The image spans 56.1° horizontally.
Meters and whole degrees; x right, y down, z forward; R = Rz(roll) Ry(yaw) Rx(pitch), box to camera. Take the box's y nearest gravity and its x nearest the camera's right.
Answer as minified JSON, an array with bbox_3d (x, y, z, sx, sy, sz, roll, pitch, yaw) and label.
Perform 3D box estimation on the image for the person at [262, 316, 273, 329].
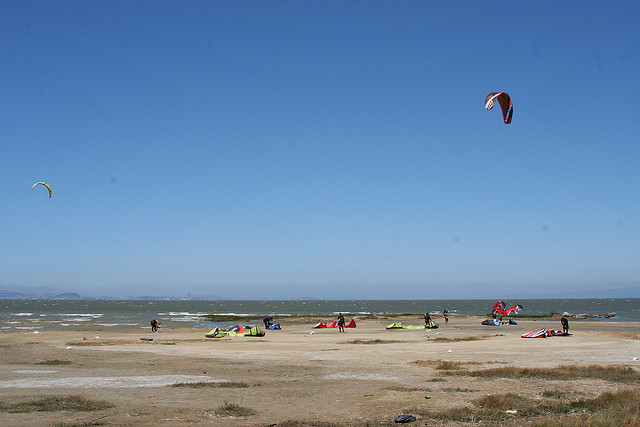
[{"bbox_3d":[-5.902,12.401,67.863,0.787,1.330,3.169,3,-12,-5],"label":"person"}]

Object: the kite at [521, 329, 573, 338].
[{"bbox_3d":[19.867,10.439,52.112,5.511,0.817,1.456,2,-5,-29],"label":"kite"}]

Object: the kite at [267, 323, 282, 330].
[{"bbox_3d":[-5.208,12.674,67.291,1.301,0.721,2.185,6,-13,-19],"label":"kite"}]

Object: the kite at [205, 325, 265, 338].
[{"bbox_3d":[-7.690,10.893,55.011,4.906,1.073,2.129,2,-12,-5],"label":"kite"}]

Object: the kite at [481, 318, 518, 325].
[{"bbox_3d":[21.589,13.340,73.013,3.154,0.509,1.739,0,-3,-18],"label":"kite"}]

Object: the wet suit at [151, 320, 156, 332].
[{"bbox_3d":[-16.688,11.362,60.554,0.388,0.931,0.640,4,-13,-9],"label":"wet suit"}]

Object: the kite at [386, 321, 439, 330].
[{"bbox_3d":[9.931,12.350,66.156,5.373,1.009,3.555,-7,-15,35],"label":"kite"}]

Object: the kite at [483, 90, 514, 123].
[{"bbox_3d":[9.577,-5.804,32.507,1.890,1.516,0.937,0,2,-36],"label":"kite"}]
